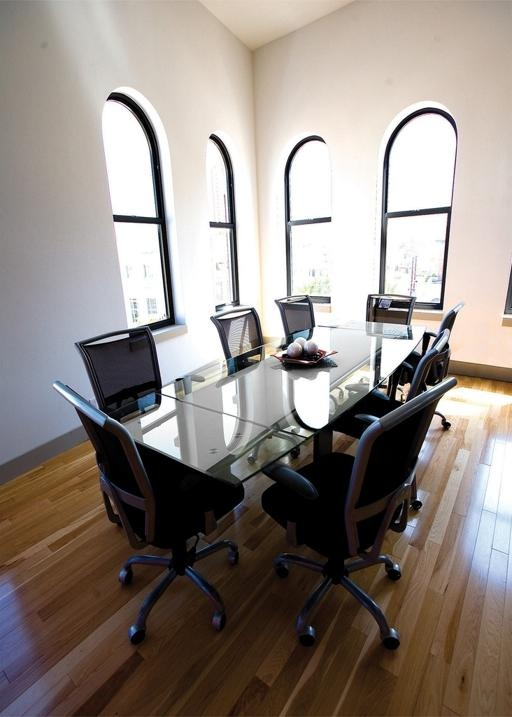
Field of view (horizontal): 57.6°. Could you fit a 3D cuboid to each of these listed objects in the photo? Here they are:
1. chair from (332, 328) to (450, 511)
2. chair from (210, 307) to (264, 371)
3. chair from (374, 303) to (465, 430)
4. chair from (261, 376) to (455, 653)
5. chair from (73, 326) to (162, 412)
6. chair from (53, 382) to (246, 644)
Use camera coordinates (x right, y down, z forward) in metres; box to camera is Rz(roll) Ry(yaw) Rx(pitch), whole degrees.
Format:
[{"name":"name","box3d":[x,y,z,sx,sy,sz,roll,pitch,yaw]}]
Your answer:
[{"name":"chair","box3d":[0.599,0.269,2.071,0.508,0.734,0.536,18,39,35]},{"name":"chair","box3d":[-0.137,-0.138,3.203,0.327,0.501,0.310,23,40,34]},{"name":"chair","box3d":[0.959,0.029,2.756,0.459,0.808,0.515,17,41,30]},{"name":"chair","box3d":[0.374,0.517,1.978,0.709,1.032,0.655,16,31,37]},{"name":"chair","box3d":[-0.709,0.061,2.377,0.314,0.465,0.324,23,39,33]},{"name":"chair","box3d":[-0.390,0.629,1.831,0.491,0.771,0.485,-24,41,-34]}]
